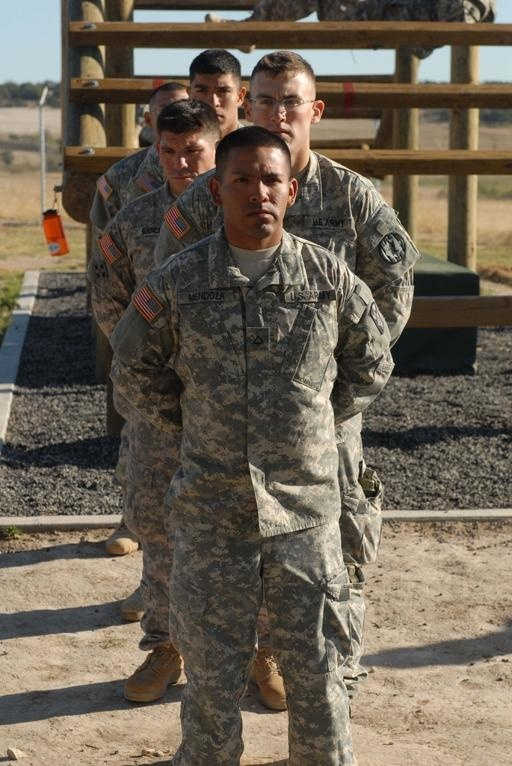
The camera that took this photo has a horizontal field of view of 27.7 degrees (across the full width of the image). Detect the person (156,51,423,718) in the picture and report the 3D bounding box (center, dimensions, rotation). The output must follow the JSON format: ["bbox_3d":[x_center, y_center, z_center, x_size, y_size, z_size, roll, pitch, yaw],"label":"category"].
[{"bbox_3d":[0.005,0.249,3.502,0.993,2.126,0.688,-2,16,-9],"label":"person"}]

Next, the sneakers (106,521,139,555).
[{"bbox_3d":[-0.655,0.754,5.013,0.115,0.058,0.174,5,14,-3],"label":"sneakers"}]

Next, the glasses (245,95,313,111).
[{"bbox_3d":[0.085,-0.920,3.426,0.111,0.026,0.100,0,-3,7],"label":"glasses"}]
